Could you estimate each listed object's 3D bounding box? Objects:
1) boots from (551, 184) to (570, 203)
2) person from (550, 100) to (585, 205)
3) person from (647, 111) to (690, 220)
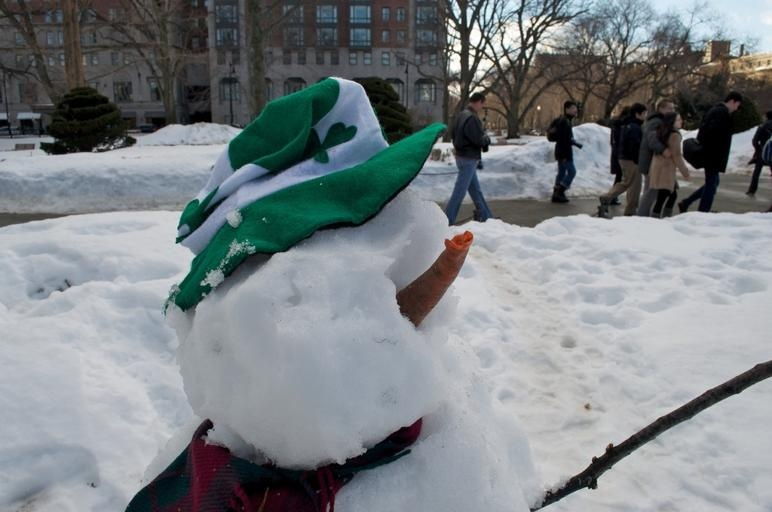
[{"bbox_3d":[3.488,-1.258,13.571,0.434,0.457,0.217,-5,15,-7],"label":"boots"},{"bbox_3d":[3.440,-1.997,13.134,0.614,2.037,1.031,5,18,13],"label":"person"},{"bbox_3d":[4.237,-1.294,10.104,0.546,1.686,1.074,8,18,22],"label":"person"}]
